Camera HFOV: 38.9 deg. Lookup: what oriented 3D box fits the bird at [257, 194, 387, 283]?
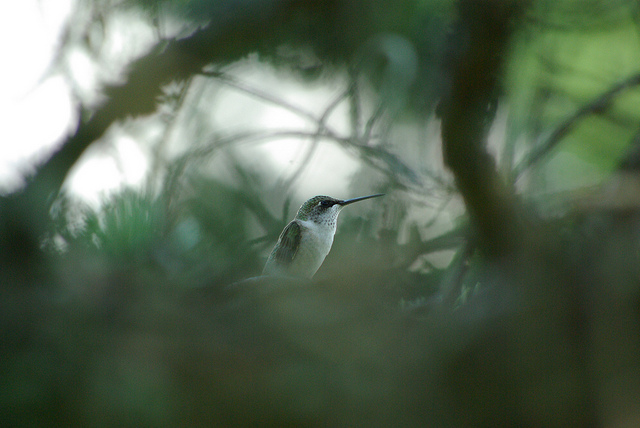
[{"bbox_3d":[-0.023,0.043,1.429,0.210,0.155,0.077,0,-2,35],"label":"bird"}]
